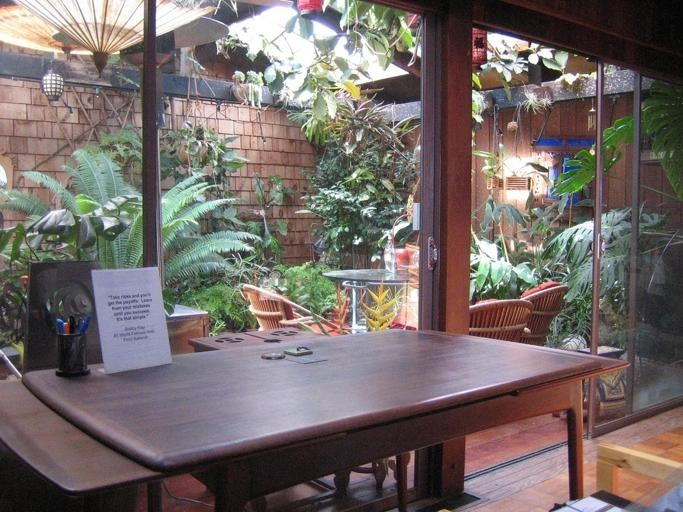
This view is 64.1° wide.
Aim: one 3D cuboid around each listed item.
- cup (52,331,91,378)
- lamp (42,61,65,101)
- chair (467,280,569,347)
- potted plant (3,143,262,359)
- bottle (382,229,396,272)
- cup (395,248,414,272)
[{"bbox_3d":[-0.799,0.288,1.624,0.120,0.140,0.120,0,-1,0],"label":"cup"},{"bbox_3d":[-1.278,-0.783,2.419,0.091,0.144,0.166,-2,6,-28],"label":"lamp"},{"bbox_3d":[1.129,0.370,3.702,0.533,0.505,0.569,-7,11,-35],"label":"chair"},{"bbox_3d":[-1.192,-0.242,3.020,1.390,0.898,1.418,11,12,44],"label":"potted plant"},{"bbox_3d":[0.288,-0.032,3.220,0.037,0.239,0.133,-1,6,-16],"label":"bottle"},{"bbox_3d":[0.353,0.011,3.124,0.100,0.132,0.134,-2,6,-18],"label":"cup"}]
